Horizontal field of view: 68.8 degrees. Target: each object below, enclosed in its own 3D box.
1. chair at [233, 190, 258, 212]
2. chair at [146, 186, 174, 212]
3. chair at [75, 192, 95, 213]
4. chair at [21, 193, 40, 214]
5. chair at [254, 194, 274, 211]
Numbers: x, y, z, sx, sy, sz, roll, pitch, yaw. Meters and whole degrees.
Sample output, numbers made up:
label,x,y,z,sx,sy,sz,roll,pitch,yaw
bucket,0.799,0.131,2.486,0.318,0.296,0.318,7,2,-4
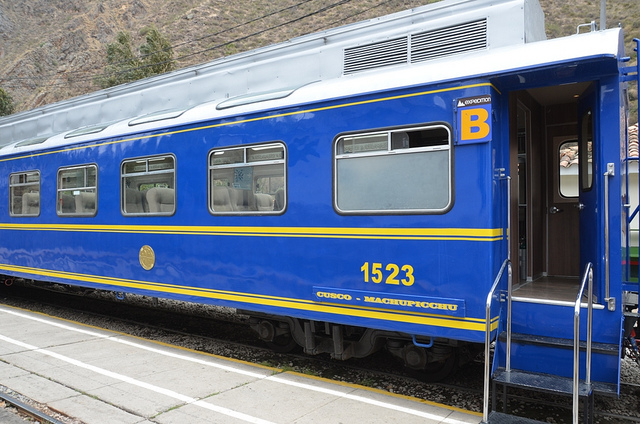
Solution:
label,x,y,z,sx,sy,sz,roll,pitch,yaw
chair,-1.240,-0.226,7.716,0.424,0.401,0.338,-4,7,-21
chair,-2.832,-0.229,8.358,0.538,0.639,0.382,3,2,42
chair,-4.700,-0.194,9.380,0.358,0.494,0.462,1,-1,-40
chair,-6.464,-0.204,10.454,0.458,0.438,0.246,3,7,33
chair,-0.883,-0.153,7.496,0.306,0.327,0.262,-6,-7,41
